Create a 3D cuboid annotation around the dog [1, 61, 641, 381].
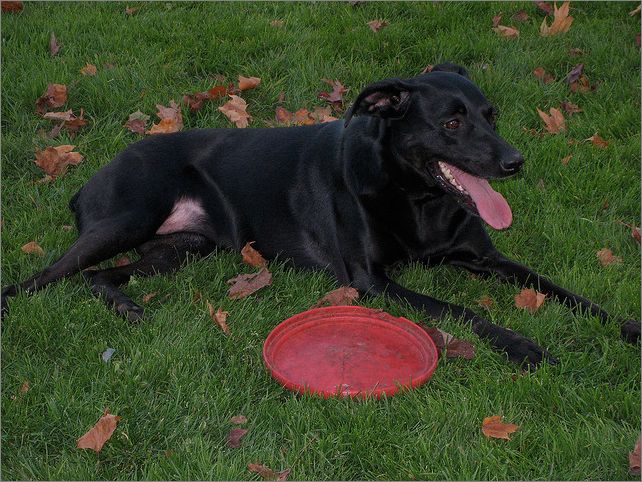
[{"bbox_3d":[0.060,-0.299,5.064,3.740,1.572,1.896,5,14,18],"label":"dog"}]
